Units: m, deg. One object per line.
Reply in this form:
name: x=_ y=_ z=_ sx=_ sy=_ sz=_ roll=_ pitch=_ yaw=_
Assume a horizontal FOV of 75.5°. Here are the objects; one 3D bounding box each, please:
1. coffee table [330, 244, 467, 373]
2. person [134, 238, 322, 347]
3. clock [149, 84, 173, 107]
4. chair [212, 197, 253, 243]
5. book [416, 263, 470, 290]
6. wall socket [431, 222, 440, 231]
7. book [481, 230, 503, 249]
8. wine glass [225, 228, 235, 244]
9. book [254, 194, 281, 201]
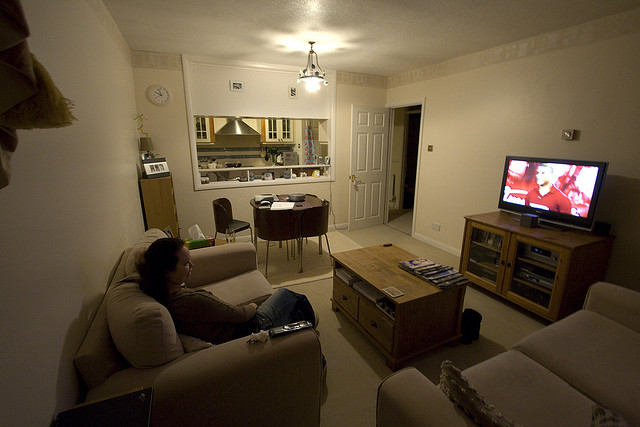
coffee table: x=0.760 y=0.878 z=4.279 sx=0.962 sy=0.715 sz=1.245 roll=-7 pitch=19 yaw=-28
person: x=-0.768 y=0.675 z=3.254 sx=0.994 sy=0.839 sz=0.999 roll=-2 pitch=20 yaw=-31
clock: x=-2.080 y=-1.530 z=5.391 sx=0.247 sy=0.251 sz=0.243 roll=-18 pitch=16 yaw=-39
chair: x=-1.209 y=0.070 z=5.601 sx=0.477 sy=0.704 sz=0.441 roll=0 pitch=22 yaw=-2
book: x=1.155 y=0.603 z=3.890 sx=0.344 sy=0.098 sz=0.324 roll=-8 pitch=15 yaw=-28
wall socket: x=1.704 y=0.200 z=6.056 sx=0.011 sy=0.103 sz=0.138 roll=-8 pitch=15 yaw=-26
book: x=1.922 y=0.293 z=4.581 sx=0.052 sy=0.161 sz=0.165 roll=-17 pitch=26 yaw=-27
wine glass: x=-1.012 y=0.256 z=4.621 sx=0.112 sy=0.179 sz=0.117 roll=-9 pitch=19 yaw=-23
book: x=-0.725 y=-0.217 z=5.449 sx=0.215 sy=0.073 sz=0.163 roll=-3 pitch=9 yaw=-18
